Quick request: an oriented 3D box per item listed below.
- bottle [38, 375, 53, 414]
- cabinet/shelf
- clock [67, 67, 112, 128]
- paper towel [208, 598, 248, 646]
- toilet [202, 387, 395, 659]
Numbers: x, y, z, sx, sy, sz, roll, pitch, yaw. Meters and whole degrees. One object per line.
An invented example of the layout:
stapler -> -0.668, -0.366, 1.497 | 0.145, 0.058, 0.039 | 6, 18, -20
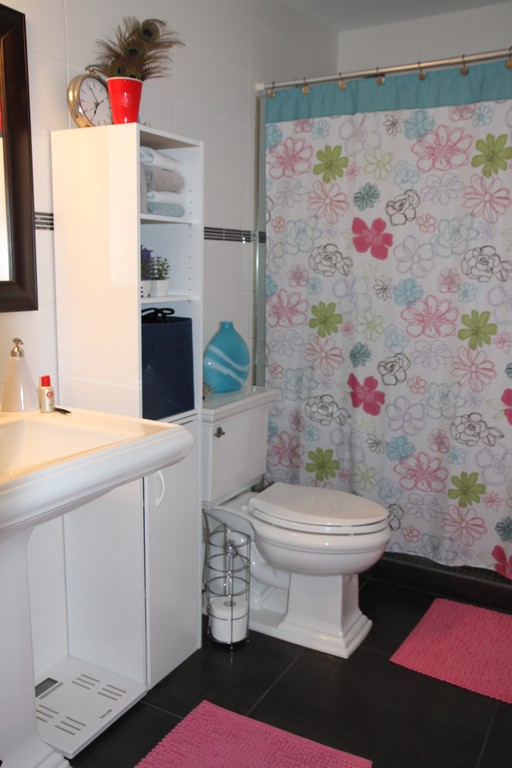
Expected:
bottle -> -0.497, 0.025, 1.451 | 0.033, 0.083, 0.054 | -3, 11, -20
cabinet/shelf -> -0.346, 0.086, 1.788 | 0.315, 1.539, 0.400 | 5, 12, 23
clock -> -0.449, -0.750, 1.621 | 0.059, 0.150, 0.144 | 5, 12, 23
paper towel -> -0.089, 0.751, 2.012 | 0.138, 0.141, 0.140 | 0, 9, -4
toilet -> 0.131, 0.450, 2.103 | 0.635, 0.798, 0.401 | 5, 13, 25
